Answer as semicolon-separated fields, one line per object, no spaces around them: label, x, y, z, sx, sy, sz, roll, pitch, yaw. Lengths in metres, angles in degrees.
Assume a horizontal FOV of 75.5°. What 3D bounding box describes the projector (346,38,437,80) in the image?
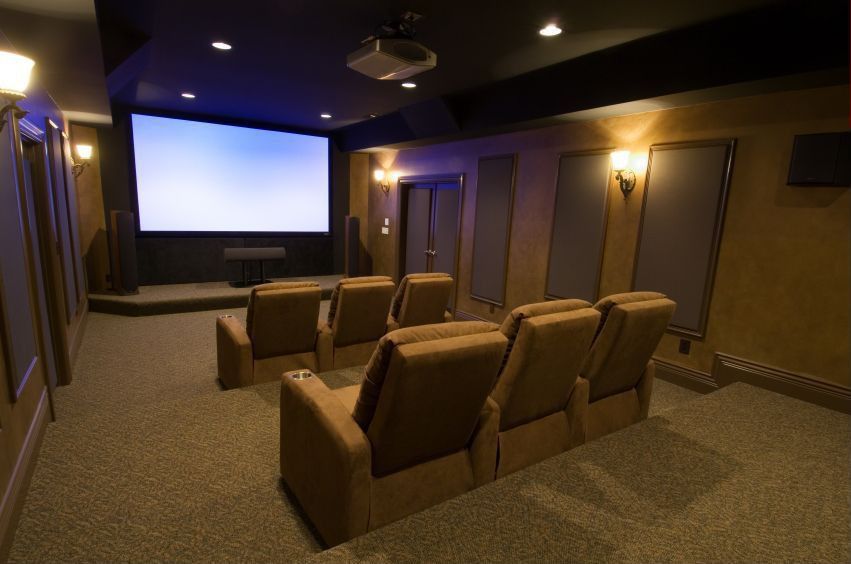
projector;-0.307;-2.163;5.318;0.639;0.278;0.627;-9;12;-43

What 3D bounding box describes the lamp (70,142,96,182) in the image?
lamp;-5.104;-1.824;8.209;0.296;0.532;0.781;-6;11;-30

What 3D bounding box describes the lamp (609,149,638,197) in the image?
lamp;2.333;-1.244;6.410;0.234;0.511;0.189;-6;12;-27

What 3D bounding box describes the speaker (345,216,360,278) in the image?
speaker;-1.350;-0.656;10.236;0.257;1.091;0.198;-4;11;-16

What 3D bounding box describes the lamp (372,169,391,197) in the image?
lamp;-0.841;-1.892;10.500;0.217;0.520;0.611;-6;11;-26
